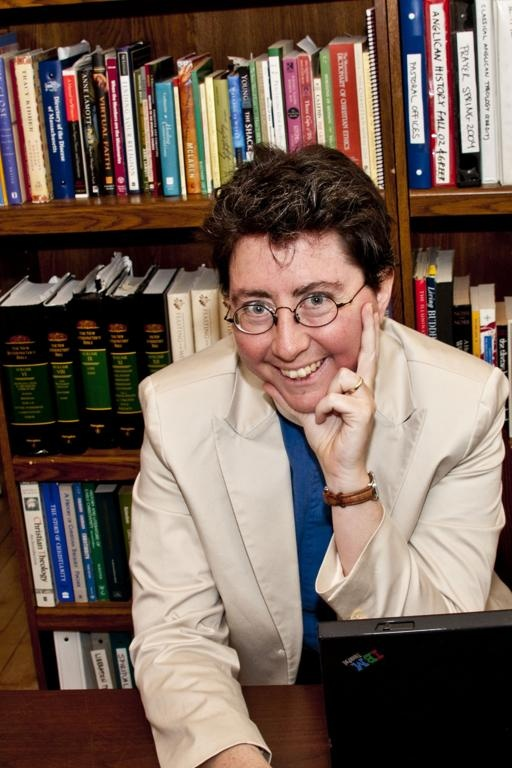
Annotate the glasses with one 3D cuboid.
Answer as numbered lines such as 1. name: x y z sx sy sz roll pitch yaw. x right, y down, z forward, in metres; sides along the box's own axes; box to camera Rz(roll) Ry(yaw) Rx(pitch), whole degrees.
1. glasses: 0.061 -0.106 0.885 0.198 0.053 0.082 -7 15 7

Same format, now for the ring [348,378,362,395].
1. ring: 0.145 0.004 0.924 0.007 0.020 0.017 37 29 10

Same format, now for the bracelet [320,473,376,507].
1. bracelet: 0.135 0.162 0.894 0.075 0.023 0.036 -5 15 12
